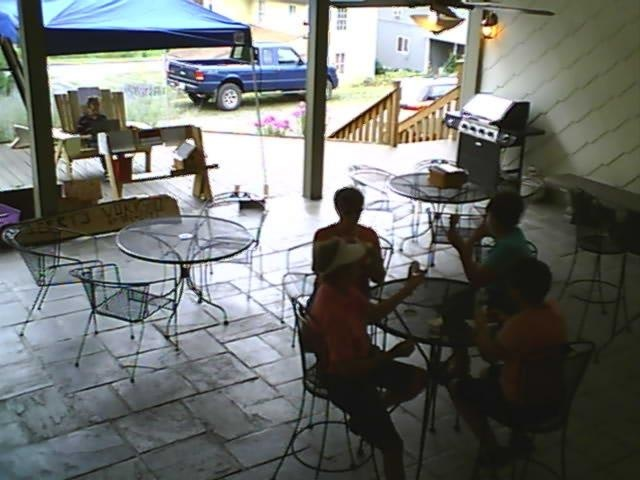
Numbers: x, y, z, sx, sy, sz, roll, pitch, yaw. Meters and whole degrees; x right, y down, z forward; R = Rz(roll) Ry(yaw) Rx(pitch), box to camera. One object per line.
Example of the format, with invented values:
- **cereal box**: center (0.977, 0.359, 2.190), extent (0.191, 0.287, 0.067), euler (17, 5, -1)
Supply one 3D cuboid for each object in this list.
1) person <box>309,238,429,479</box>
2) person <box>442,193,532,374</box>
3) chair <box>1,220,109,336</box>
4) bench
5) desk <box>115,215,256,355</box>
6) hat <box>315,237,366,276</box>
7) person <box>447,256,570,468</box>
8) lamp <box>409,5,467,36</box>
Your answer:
- **person**: center (0.309, 0.818, 3.683), extent (0.819, 1.302, 1.098), euler (-2, 18, -2)
- **person**: center (1.395, 0.379, 4.349), extent (0.814, 1.480, 0.628), euler (16, 20, 33)
- **chair**: center (-2.822, 0.432, 5.423), extent (0.809, 0.908, 0.699), euler (-13, 42, -26)
- **bench**: center (-3.218, -1.541, 8.866), extent (1.859, 1.024, 2.434), euler (-11, 21, -34)
- **desk**: center (-1.510, 0.482, 5.595), extent (1.351, 0.894, 1.360), euler (24, 34, 33)
- **hat**: center (0.148, 0.105, 3.894), extent (0.306, 0.080, 0.302), euler (-24, 23, -28)
- **person**: center (1.229, 0.847, 3.368), extent (0.675, 1.419, 0.407), euler (11, 22, 32)
- **lamp**: center (1.225, -2.240, 5.196), extent (0.442, 0.168, 0.432), euler (6, 6, 2)
